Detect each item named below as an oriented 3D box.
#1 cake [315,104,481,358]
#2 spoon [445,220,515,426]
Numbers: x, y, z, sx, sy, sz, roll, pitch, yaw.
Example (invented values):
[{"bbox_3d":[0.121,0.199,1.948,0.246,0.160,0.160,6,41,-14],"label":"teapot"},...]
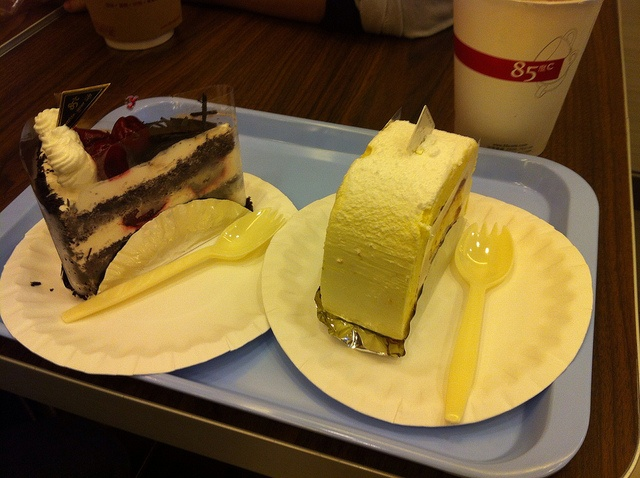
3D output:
[{"bbox_3d":[0.148,0.005,1.018,0.143,0.311,0.362,18,57,21],"label":"cake"},{"bbox_3d":[0.299,0.092,1.069,0.092,0.059,0.507,10,63,24],"label":"spoon"}]
